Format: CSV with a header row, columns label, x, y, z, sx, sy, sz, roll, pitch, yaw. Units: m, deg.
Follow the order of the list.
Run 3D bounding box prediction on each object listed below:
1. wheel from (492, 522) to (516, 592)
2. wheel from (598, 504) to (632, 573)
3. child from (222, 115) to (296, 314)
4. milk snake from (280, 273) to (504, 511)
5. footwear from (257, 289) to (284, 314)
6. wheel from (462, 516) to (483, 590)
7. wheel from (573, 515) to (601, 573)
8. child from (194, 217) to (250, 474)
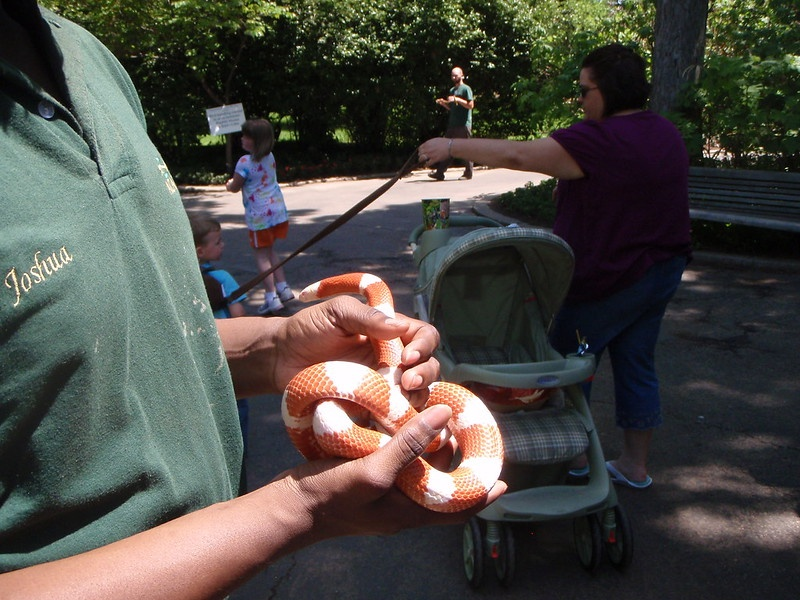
label,x,y,z,sx,sy,sz,roll,pitch,yaw
wheel,0.515,1.243,3.155,0.105,0.331,0.133,4,21,11
wheel,1.095,1.191,3.247,0.169,0.342,0.155,0,21,0
child,-1.504,-0.874,6.868,0.569,2.025,0.595,1,12,20
milk snake,-0.054,0.237,1.946,0.617,0.262,1.054,10,27,-18
footwear,-1.337,0.046,6.686,0.134,0.183,0.327,-3,5,-17
wheel,0.368,1.228,3.204,0.113,0.335,0.270,2,22,5
wheel,0.918,1.218,3.253,0.219,0.277,0.064,11,-19,-35
child,-1.205,0.223,4.389,0.423,1.692,0.423,-1,33,-1
